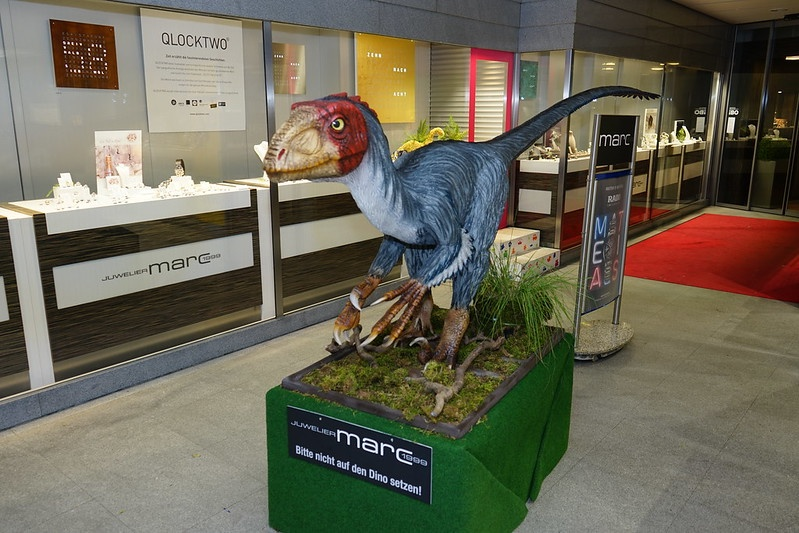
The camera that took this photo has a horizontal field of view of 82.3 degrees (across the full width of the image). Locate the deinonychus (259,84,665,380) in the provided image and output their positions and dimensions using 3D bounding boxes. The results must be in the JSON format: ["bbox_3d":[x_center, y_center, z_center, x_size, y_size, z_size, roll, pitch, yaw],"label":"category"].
[{"bbox_3d":[0.362,-0.246,2.566,2.218,1.347,0.561,-17,23,-34],"label":"deinonychus"}]
